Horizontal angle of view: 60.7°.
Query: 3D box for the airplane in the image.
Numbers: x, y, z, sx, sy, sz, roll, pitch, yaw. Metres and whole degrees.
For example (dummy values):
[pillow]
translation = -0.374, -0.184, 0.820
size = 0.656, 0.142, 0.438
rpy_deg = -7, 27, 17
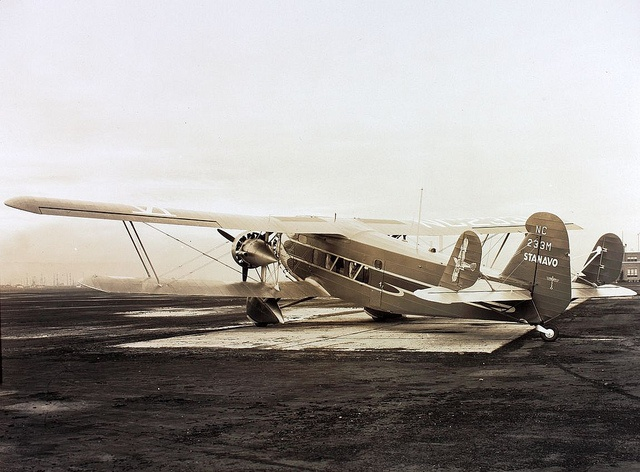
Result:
[airplane]
translation = 1.797, 1.449, 19.737
size = 15.634, 4.964, 11.135
rpy_deg = 2, 0, 18
